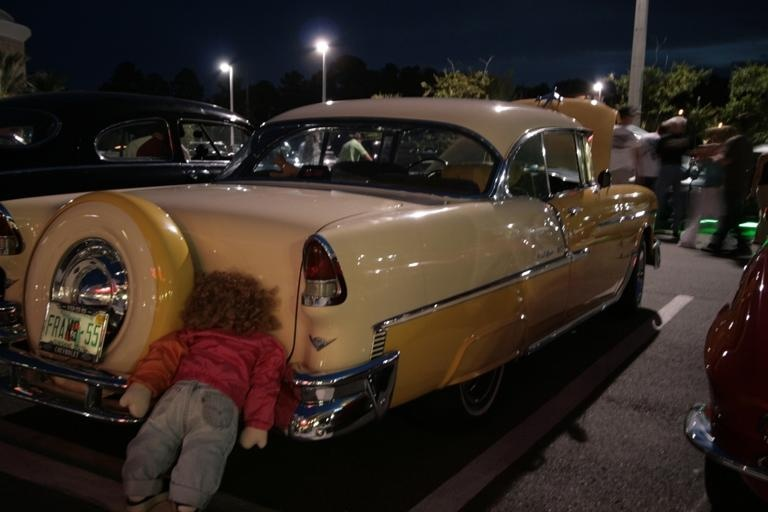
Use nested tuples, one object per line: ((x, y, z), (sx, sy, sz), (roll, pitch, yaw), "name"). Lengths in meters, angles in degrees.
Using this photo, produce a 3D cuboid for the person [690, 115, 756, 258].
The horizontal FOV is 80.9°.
((7.135, -1.457, 9.860), (0.955, 3.024, 0.993), (19, -6, -28), "person")
